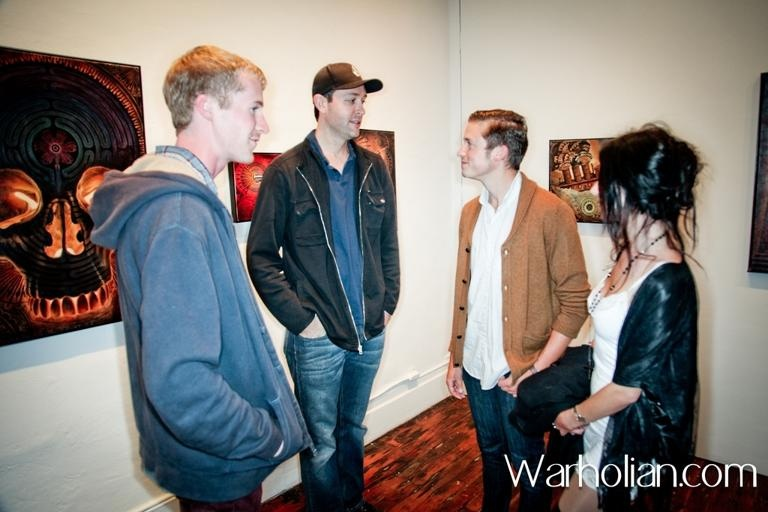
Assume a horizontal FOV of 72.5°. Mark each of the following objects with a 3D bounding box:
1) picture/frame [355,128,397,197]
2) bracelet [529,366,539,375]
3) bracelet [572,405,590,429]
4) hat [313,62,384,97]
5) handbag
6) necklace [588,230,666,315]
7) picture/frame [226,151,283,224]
[{"bbox_3d":[-0.059,-0.615,3.406,0.028,0.527,0.471,12,27,37],"label":"picture/frame"},{"bbox_3d":[0.805,0.618,2.819,0.039,0.039,0.010,11,-19,46],"label":"bracelet"},{"bbox_3d":[0.959,0.792,2.552,0.039,0.095,0.091,-25,-19,-17],"label":"bracelet"},{"bbox_3d":[-0.203,-0.987,3.026,0.332,0.175,0.216,-11,7,24],"label":"hat"},{"bbox_3d":[0.869,0.684,2.692,0.165,0.463,0.357,38,2,-18],"label":"handbag"},{"bbox_3d":[1.129,0.120,2.481,0.147,0.406,0.236,31,12,-27],"label":"necklace"},{"bbox_3d":[-0.745,-0.375,2.988,0.046,0.427,0.454,5,11,44],"label":"picture/frame"}]
